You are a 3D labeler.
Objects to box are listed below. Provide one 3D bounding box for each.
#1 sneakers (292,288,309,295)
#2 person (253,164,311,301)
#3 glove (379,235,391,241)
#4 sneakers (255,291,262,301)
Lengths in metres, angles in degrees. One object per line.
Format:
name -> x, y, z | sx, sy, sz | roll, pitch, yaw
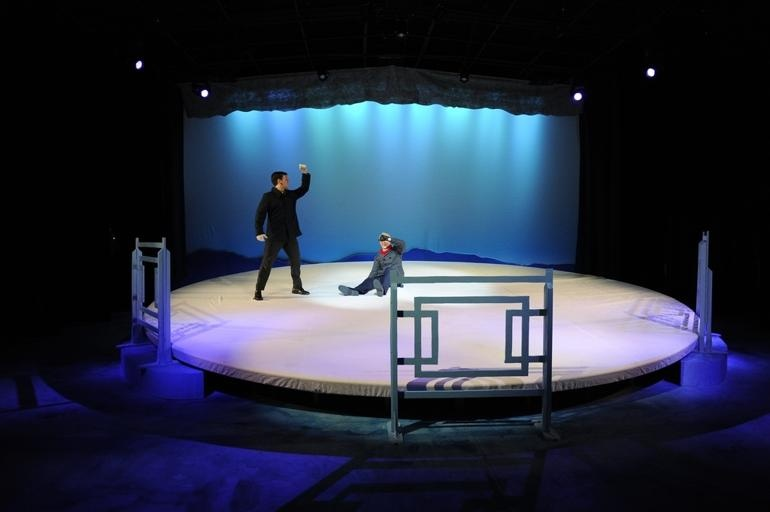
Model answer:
sneakers -> -1.165, 0.475, 8.255 | 0.216, 0.094, 0.088 | 0, 2, 5
person -> -1.426, -0.382, 8.302 | 0.730, 1.799, 1.084 | 0, 6, -8
glove -> 0.002, -0.258, 8.119 | 0.141, 0.103, 0.267 | 1, 6, -2
sneakers -> -1.660, 0.526, 7.921 | 0.131, 0.106, 0.190 | 1, -1, -3
